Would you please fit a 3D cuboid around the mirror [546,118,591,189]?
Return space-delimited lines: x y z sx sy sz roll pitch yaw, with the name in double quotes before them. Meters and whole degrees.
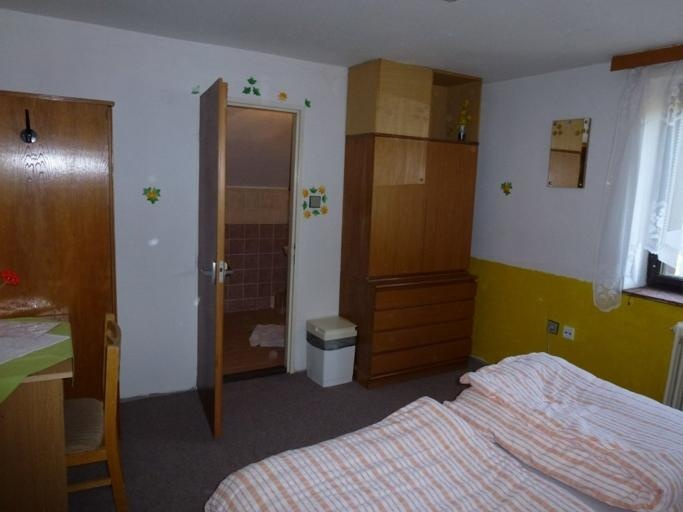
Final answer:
"mirror" 2.008 -0.904 4.543 0.051 0.601 0.338 -7 12 -38

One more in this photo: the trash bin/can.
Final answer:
"trash bin/can" -0.092 0.867 4.920 0.513 0.684 0.510 -2 5 -36

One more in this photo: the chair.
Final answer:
"chair" -1.483 0.935 3.084 0.326 1.092 0.569 -4 11 -28

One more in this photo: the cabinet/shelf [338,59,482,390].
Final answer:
"cabinet/shelf" 0.646 -0.305 4.848 1.239 2.883 0.564 -2 10 -16
